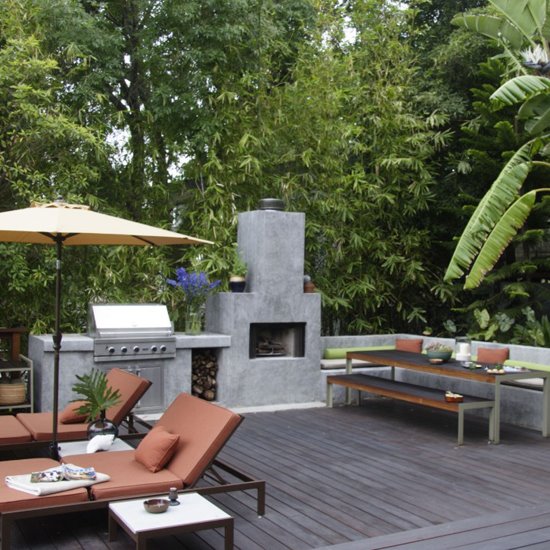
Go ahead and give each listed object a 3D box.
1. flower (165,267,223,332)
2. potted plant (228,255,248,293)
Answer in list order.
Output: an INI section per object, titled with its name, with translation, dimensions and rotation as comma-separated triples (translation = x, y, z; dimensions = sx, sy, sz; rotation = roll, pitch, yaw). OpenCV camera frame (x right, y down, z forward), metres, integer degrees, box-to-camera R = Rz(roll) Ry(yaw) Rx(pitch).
[flower]
translation = -0.969, 0.277, 7.054
dimensions = 0.866, 0.806, 0.795
rotation = 1, -1, -11
[potted plant]
translation = -0.429, 0.064, 6.853
dimensions = 0.206, 0.295, 0.193
rotation = -2, 2, -20
